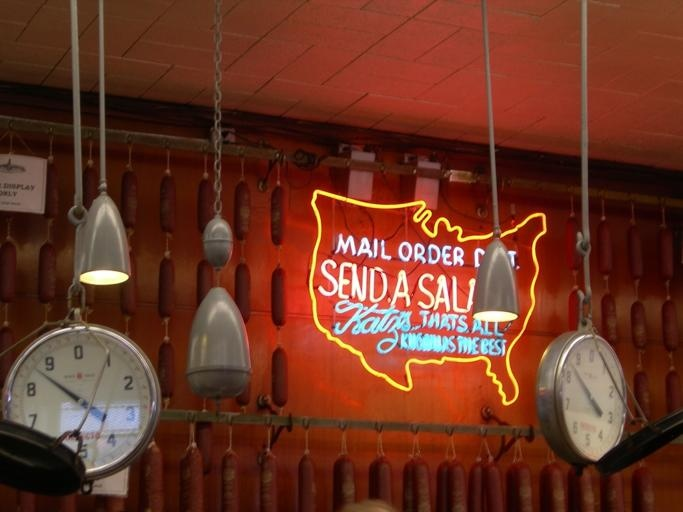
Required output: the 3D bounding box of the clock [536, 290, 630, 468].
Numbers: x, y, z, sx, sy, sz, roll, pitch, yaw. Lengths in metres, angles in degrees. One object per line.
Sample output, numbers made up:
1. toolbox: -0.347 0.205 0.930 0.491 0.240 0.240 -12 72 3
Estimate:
1. clock: 1.392 0.796 8.043 0.514 0.798 0.140 3 -11 -17
